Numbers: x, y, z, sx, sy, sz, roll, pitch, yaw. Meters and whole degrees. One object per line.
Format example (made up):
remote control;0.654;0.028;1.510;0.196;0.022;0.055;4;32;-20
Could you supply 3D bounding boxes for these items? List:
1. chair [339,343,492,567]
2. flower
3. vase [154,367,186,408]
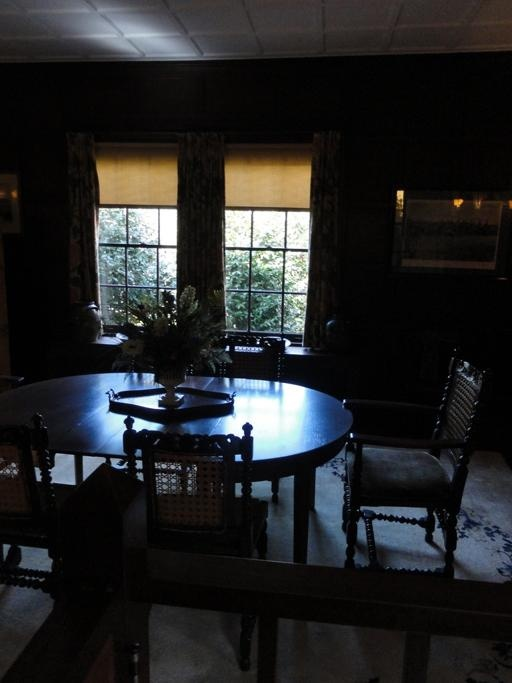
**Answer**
chair;0.626;0.558;2.547;0.696;0.859;0.668;6;11;30
flower;-0.407;0.006;2.566;0.368;0.359;0.320;-7;-5;-4
vase;-0.363;0.191;2.540;0.150;0.177;0.149;3;17;8
